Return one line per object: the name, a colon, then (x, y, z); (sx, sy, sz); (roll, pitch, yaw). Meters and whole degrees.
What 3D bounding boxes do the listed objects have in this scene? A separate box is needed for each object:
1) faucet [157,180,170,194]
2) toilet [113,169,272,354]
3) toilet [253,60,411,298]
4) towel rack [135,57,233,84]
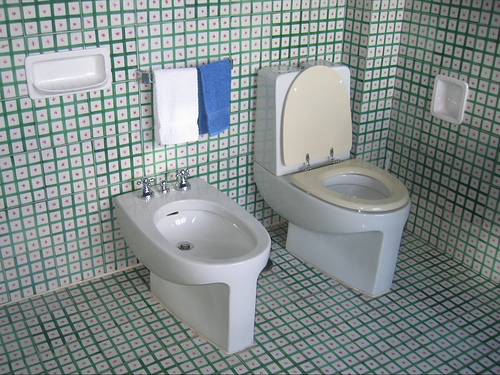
faucet: (-0.427, -0.004, 1.977); (0.062, 0.045, 0.083); (-9, 33, -8)
toilet: (-0.266, 0.364, 1.900); (0.485, 0.495, 0.713); (-15, 33, -40)
toilet: (0.581, 0.020, 2.238); (0.597, 1.205, 0.959); (-20, 33, -36)
towel rack: (-0.328, -0.552, 1.902); (0.271, 0.037, 0.169); (-19, 34, -37)
